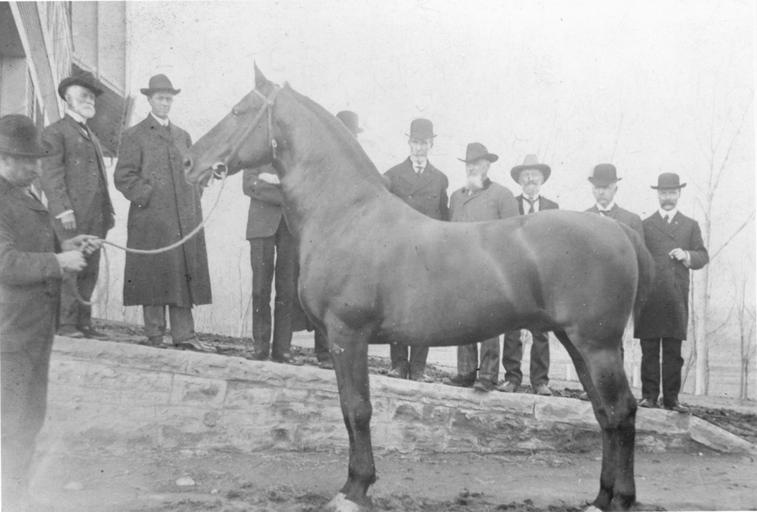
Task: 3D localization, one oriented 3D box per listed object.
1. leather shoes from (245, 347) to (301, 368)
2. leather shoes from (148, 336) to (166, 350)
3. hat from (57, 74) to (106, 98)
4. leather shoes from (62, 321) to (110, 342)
[{"bbox_3d":[-0.828,0.780,7.443,0.295,0.088,0.072,8,28,-11],"label":"leather shoes"},{"bbox_3d":[-1.679,0.647,7.336,0.138,0.085,0.053,4,-6,-19],"label":"leather shoes"},{"bbox_3d":[-2.249,-1.289,7.371,0.236,0.098,0.198,22,-34,-40],"label":"hat"},{"bbox_3d":[-2.165,0.564,7.257,0.368,0.186,0.125,0,0,-7],"label":"leather shoes"}]
